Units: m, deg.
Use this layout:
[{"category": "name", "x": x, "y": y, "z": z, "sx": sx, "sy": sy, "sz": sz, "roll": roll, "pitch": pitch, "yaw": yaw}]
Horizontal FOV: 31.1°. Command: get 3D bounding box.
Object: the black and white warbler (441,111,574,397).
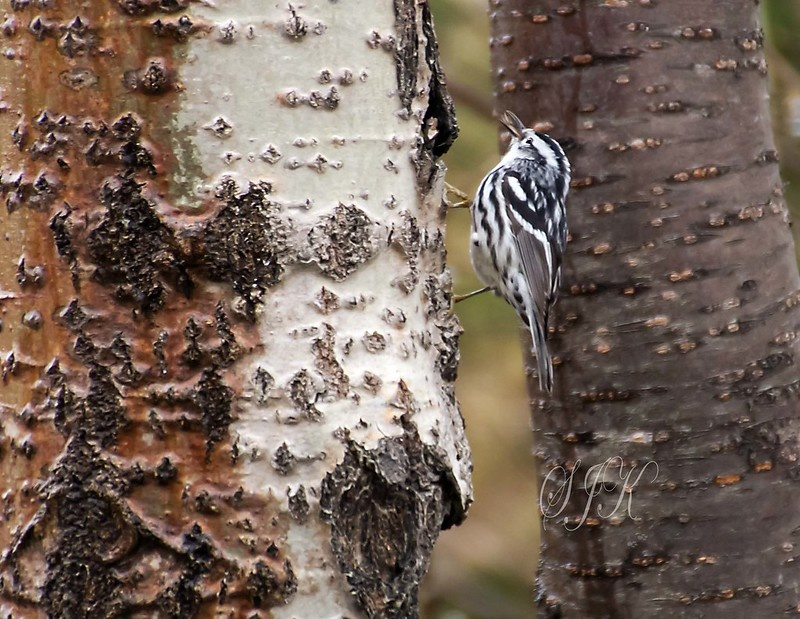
[{"category": "black and white warbler", "x": 0.452, "y": -0.209, "z": 5.265, "sx": 0.478, "sy": 0.290, "sz": 0.926, "roll": -21, "pitch": 60, "yaw": 19}]
